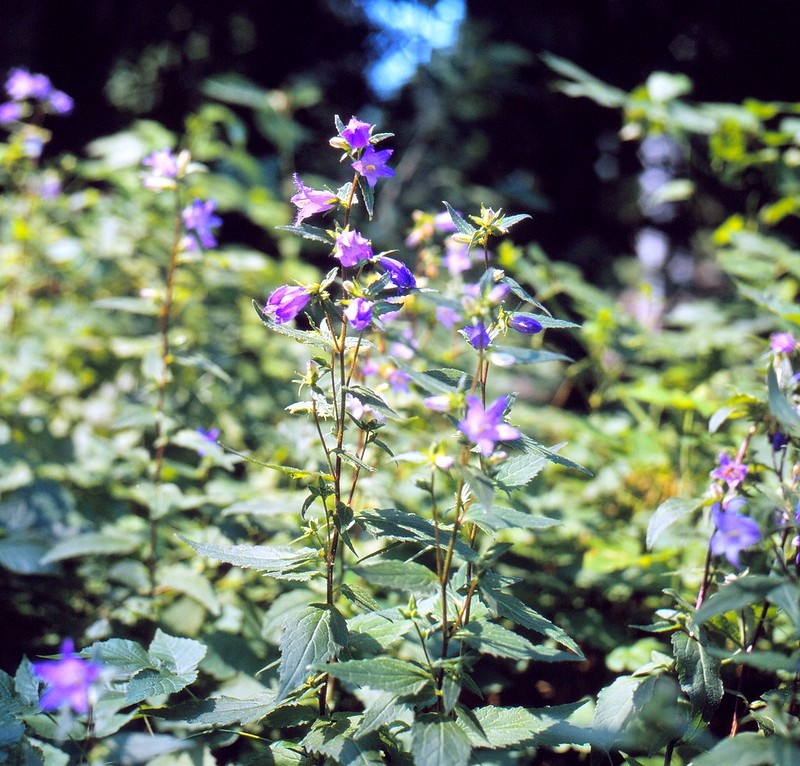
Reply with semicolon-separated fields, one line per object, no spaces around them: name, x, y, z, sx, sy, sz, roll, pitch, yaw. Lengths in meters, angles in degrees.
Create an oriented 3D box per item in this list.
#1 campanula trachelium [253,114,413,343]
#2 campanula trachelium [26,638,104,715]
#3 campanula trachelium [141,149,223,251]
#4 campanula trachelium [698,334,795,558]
campanula trachelium;-0.218;-0.568;4.410;0.549;0.803;0.616;-1;17;1
campanula trachelium;-1.171;1.026;4.217;0.296;0.300;0.142;-8;-3;-9
campanula trachelium;-0.883;-0.728;4.834;0.290;0.456;0.512;-4;16;-8
campanula trachelium;1.297;0.267;4.302;0.363;0.873;0.294;7;-5;11
